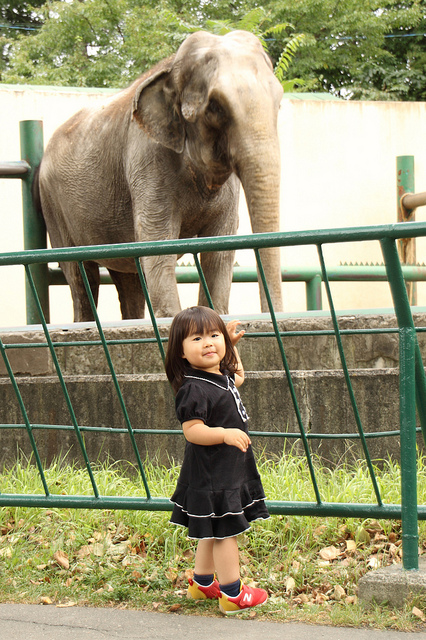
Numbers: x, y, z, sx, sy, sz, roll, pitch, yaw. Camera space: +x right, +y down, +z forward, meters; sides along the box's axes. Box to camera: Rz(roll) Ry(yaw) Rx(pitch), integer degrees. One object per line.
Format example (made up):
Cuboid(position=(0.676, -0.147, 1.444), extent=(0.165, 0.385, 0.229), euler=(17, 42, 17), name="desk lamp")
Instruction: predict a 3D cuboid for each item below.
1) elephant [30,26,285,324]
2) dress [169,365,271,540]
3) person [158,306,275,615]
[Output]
Cuboid(position=(-0.369, -0.709, 6.257), extent=(0.914, 1.576, 2.422), euler=(-1, 0, -33), name="elephant")
Cuboid(position=(0.010, 0.398, 3.197), extent=(0.334, 0.518, 0.287), euler=(-14, 14, -26), name="dress")
Cuboid(position=(-0.029, 0.365, 3.662), extent=(0.393, 0.996, 1.301), euler=(-7, 12, 2), name="person")
